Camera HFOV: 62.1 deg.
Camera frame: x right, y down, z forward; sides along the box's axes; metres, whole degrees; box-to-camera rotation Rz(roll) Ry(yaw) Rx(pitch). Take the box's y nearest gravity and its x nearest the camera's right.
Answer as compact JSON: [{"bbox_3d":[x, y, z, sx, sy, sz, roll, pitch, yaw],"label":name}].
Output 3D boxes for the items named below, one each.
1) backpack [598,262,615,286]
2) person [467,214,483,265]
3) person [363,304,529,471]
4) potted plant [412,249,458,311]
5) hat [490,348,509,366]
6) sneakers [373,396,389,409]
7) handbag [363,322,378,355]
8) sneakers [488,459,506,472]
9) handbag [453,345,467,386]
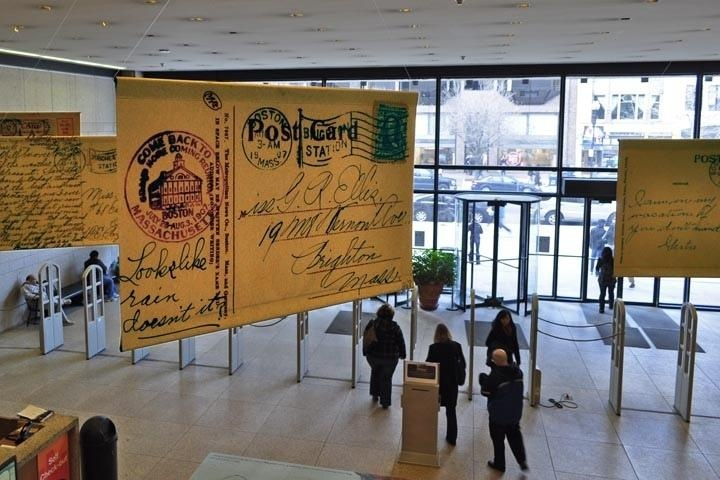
[{"bbox_3d":[5.983,0.807,14.425,0.445,0.554,0.236,4,14,14],"label":"backpack"},{"bbox_3d":[2.707,0.016,14.108,0.330,1.122,0.080,4,14,12],"label":"person"},{"bbox_3d":[1.331,2.386,9.410,1.804,1.454,0.530,12,25,26],"label":"person"},{"bbox_3d":[1.652,0.981,14.797,1.272,1.409,1.109,1,-7,-18],"label":"potted plant"},{"bbox_3d":[1.890,1.634,8.442,0.251,0.259,0.382,4,-10,4],"label":"hat"},{"bbox_3d":[0.318,2.640,9.883,0.120,0.152,0.351,-3,15,-38],"label":"sneakers"},{"bbox_3d":[0.150,1.582,9.703,0.133,0.436,0.442,10,-18,-15],"label":"handbag"},{"bbox_3d":[1.925,3.158,8.428,0.238,0.106,0.088,18,18,39],"label":"sneakers"},{"bbox_3d":[1.509,1.935,9.081,0.150,0.707,0.385,3,14,9],"label":"handbag"}]
